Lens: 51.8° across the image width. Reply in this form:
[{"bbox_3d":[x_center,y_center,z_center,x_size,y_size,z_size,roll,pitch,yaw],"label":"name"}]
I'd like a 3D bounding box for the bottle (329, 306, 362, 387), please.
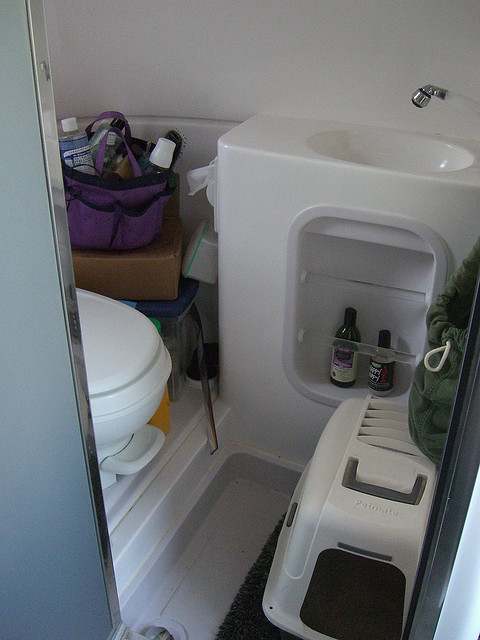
[{"bbox_3d":[0.250,0.055,1.160,0.053,0.201,0.066,-2,26,-6],"label":"bottle"}]

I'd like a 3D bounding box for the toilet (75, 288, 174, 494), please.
[{"bbox_3d":[-0.227,0.163,1.047,0.172,0.373,0.350,-9,30,-17],"label":"toilet"}]

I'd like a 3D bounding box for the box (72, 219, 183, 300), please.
[{"bbox_3d":[-0.282,-0.162,1.285,0.260,0.120,0.266,-1,32,-3],"label":"box"}]

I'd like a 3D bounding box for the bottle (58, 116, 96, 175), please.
[{"bbox_3d":[-0.389,-0.419,1.170,0.072,0.117,0.204,-9,32,-17],"label":"bottle"}]
